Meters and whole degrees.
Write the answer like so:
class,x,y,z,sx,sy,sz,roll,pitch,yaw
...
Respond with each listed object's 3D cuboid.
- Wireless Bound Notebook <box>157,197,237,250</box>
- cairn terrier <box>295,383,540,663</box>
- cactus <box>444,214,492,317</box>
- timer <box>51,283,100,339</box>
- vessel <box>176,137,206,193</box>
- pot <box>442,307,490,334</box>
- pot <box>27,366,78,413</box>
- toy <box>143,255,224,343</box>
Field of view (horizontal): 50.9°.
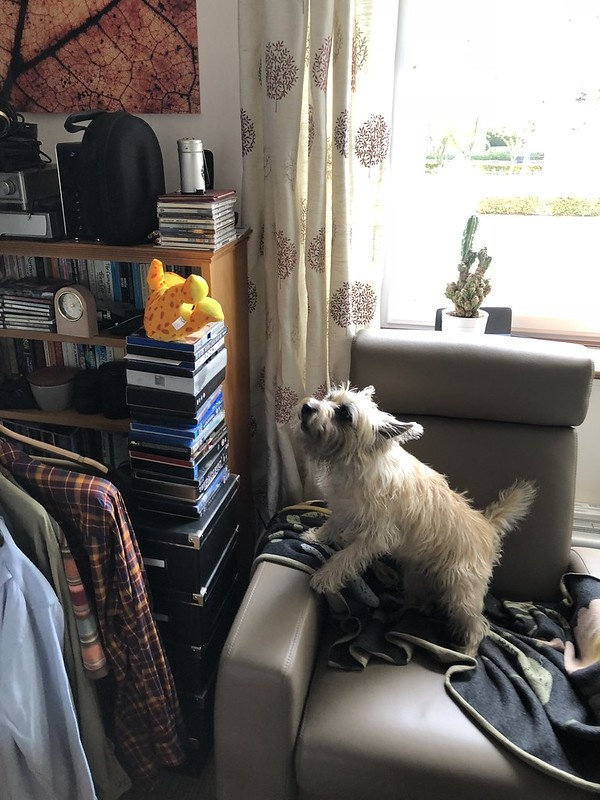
class,x,y,z,sx,sy,sz,roll,pitch,yaw
Wireless Bound Notebook,-0.228,-0.425,1.513,0.217,0.120,0.153,-8,21,-27
cairn terrier,0.220,0.269,1.389,0.533,0.422,0.356,24,-6,-12
cactus,0.489,-0.372,1.762,0.121,0.268,0.161,13,22,32
timer,-0.576,-0.222,1.591,0.113,0.129,0.069,0,18,-5
vessel,-0.252,-0.546,1.479,0.080,0.120,0.080,10,26,18
pot,0.466,-0.211,1.747,0.116,0.086,0.116,0,19,0
pot,-0.679,-0.039,1.735,0.128,0.093,0.127,0,18,0
toy,-0.236,-0.190,1.245,0.141,0.152,0.180,-4,19,-14
